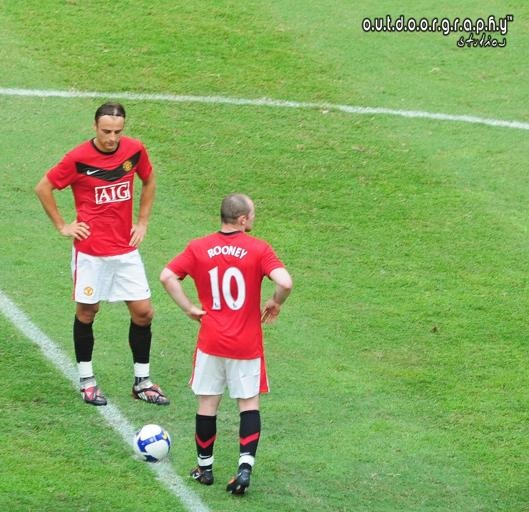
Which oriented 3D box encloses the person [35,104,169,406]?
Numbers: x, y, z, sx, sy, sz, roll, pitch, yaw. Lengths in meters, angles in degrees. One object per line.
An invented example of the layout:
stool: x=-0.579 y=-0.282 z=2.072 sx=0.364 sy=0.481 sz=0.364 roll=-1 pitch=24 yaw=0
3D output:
person: x=-1.248 y=-0.060 z=7.998 sx=0.833 sy=2.209 sz=1.126 roll=-3 pitch=27 yaw=-7

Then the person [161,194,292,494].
person: x=-0.214 y=0.604 z=7.087 sx=0.763 sy=1.883 sz=0.935 roll=-10 pitch=28 yaw=-19

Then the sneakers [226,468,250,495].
sneakers: x=-0.187 y=1.520 z=7.083 sx=0.102 sy=0.247 sz=0.119 roll=29 pitch=62 yaw=0

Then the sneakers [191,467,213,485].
sneakers: x=-0.436 y=1.494 z=7.227 sx=0.076 sy=0.075 sz=0.189 roll=-9 pitch=19 yaw=-35

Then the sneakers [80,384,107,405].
sneakers: x=-1.307 y=1.050 z=8.013 sx=0.110 sy=0.087 sz=0.212 roll=-17 pitch=25 yaw=-42

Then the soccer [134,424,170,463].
soccer: x=-0.766 y=1.282 z=7.296 sx=0.273 sy=0.242 sz=0.257 roll=0 pitch=2 yaw=4

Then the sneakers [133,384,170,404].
sneakers: x=-0.886 y=1.040 z=8.107 sx=0.326 sy=0.125 sz=0.113 roll=10 pitch=15 yaw=23
